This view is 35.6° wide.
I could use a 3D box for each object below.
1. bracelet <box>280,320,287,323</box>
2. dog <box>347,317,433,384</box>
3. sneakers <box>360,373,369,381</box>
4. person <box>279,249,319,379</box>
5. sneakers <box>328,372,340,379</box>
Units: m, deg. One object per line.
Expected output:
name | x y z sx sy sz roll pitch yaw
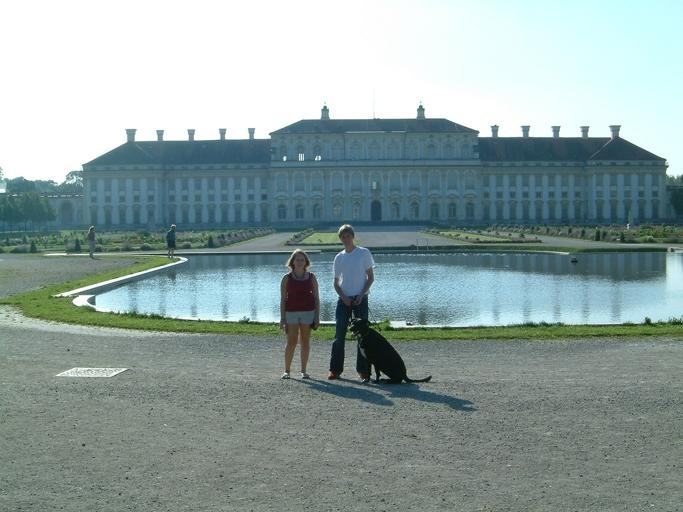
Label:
bracelet | -0.792 0.890 14.591 0.093 0.079 0.047 0 -5 3
dog | 0.686 1.318 14.529 1.404 0.792 0.368 6 -4 25
sneakers | 0.322 1.658 14.644 0.119 0.046 0.147 3 2 -9
person | -0.569 0.792 14.598 0.511 1.754 0.375 0 -3 -9
sneakers | -0.106 1.650 14.703 0.155 0.092 0.069 5 -8 -7
